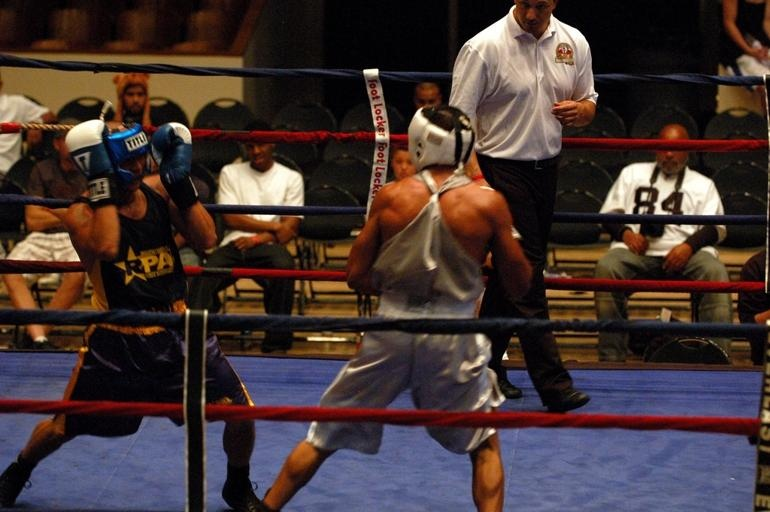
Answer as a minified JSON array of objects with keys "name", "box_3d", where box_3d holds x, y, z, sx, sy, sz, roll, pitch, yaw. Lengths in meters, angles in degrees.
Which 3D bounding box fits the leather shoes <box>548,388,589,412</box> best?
[{"name":"leather shoes","box_3d":[0.956,0.758,5.505,0.272,0.105,0.096,-13,11,15]}]

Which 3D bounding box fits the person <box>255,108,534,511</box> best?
[{"name":"person","box_3d":[0.134,0.211,4.560,0.997,1.672,0.766,2,20,7]}]

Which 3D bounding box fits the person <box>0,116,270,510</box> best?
[{"name":"person","box_3d":[-1.206,0.277,4.725,1.110,1.745,0.784,-4,20,-8]}]

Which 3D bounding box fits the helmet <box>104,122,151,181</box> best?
[{"name":"helmet","box_3d":[-1.174,-0.481,4.675,0.210,0.208,0.265,-12,-2,-40]}]

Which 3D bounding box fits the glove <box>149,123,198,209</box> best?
[{"name":"glove","box_3d":[-0.981,-0.432,4.744,0.298,0.355,0.166,10,11,29]}]

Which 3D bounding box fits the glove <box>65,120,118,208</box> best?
[{"name":"glove","box_3d":[-1.333,-0.429,4.668,0.194,0.357,0.230,-6,20,-14]}]

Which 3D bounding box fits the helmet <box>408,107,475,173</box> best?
[{"name":"helmet","box_3d":[0.239,-0.532,4.541,0.338,0.271,0.255,5,6,22]}]

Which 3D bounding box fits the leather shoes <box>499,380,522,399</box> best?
[{"name":"leather shoes","box_3d":[0.686,0.755,5.821,0.074,0.069,0.188,-6,9,-40]}]

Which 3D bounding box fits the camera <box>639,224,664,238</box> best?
[{"name":"camera","box_3d":[1.833,-0.178,7.056,0.125,0.076,0.111,-1,5,-12]}]
